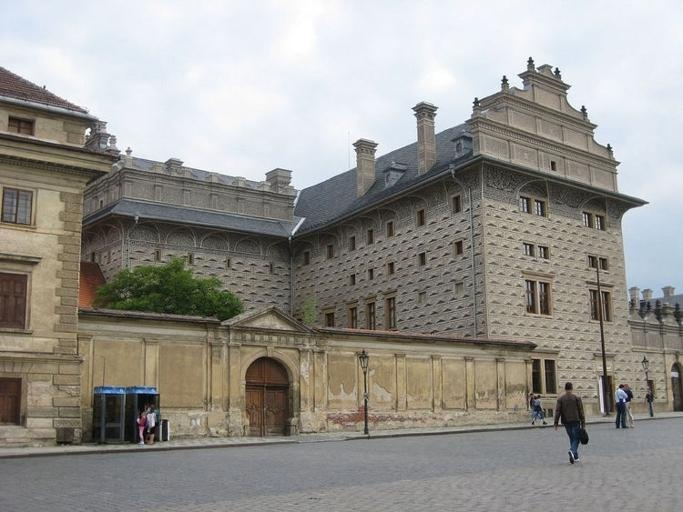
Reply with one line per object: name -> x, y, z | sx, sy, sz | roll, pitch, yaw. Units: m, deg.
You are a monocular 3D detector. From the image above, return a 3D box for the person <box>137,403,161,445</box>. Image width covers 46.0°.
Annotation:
person -> -7.045, 6.097, 29.477 | 0.513, 1.405, 0.865 | -7, -15, 20
